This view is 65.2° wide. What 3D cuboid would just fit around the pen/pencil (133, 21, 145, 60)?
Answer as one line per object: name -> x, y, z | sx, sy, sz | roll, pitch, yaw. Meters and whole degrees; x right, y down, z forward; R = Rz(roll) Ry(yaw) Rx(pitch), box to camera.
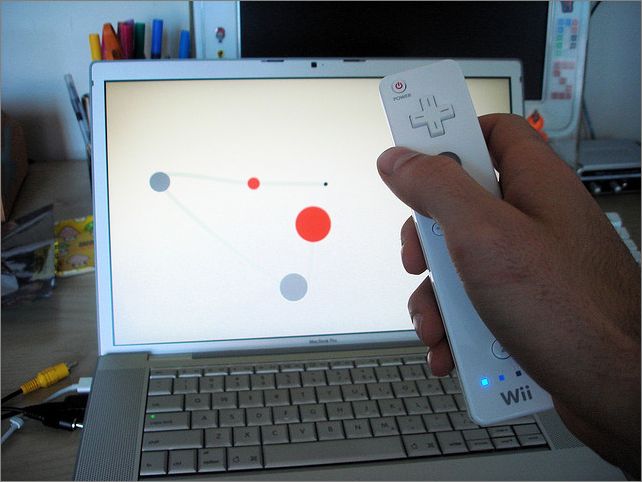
pen/pencil -> -0.351, -0.385, 0.958 | 0.027, 0.064, 0.025 | -17, 21, -27
